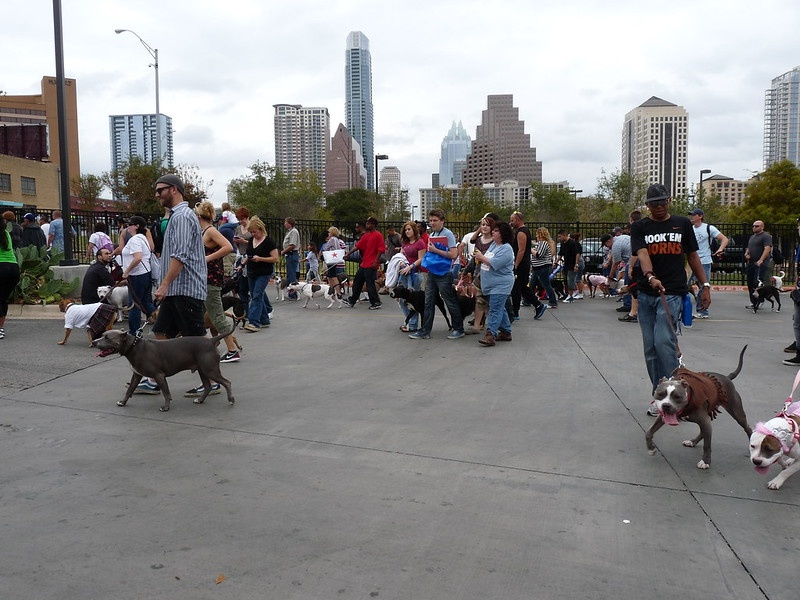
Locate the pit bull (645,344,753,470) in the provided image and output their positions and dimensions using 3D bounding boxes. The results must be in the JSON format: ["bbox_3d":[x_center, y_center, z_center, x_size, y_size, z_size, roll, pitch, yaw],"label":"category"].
[{"bbox_3d":[2.591,0.998,5.780,0.988,0.733,0.478,-8,12,-43],"label":"pit bull"}]

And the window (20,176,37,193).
[{"bbox_3d":[-29.564,-9.154,53.277,0.107,1.619,1.478,-7,4,14],"label":"window"}]

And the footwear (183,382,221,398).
[{"bbox_3d":[-2.215,0.995,7.505,0.470,0.232,0.165,2,1,-15],"label":"footwear"}]

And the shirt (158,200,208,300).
[{"bbox_3d":[-2.441,-0.532,7.628,0.519,1.115,0.978,2,-2,-13],"label":"shirt"}]

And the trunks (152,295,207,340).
[{"bbox_3d":[-2.506,0.145,7.607,0.633,0.510,0.371,5,8,-3],"label":"trunks"}]

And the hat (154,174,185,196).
[{"bbox_3d":[-2.531,-1.271,7.372,0.276,0.221,0.322,-3,10,-21],"label":"hat"}]

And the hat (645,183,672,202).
[{"bbox_3d":[2.632,-1.090,6.867,0.185,0.142,0.260,-7,6,26],"label":"hat"}]

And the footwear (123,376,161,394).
[{"bbox_3d":[-2.829,0.973,7.495,0.435,0.202,0.175,12,-3,-8],"label":"footwear"}]

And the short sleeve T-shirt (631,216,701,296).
[{"bbox_3d":[2.785,-0.490,7.058,0.605,0.882,0.317,-3,11,19],"label":"short sleeve T-shirt"}]

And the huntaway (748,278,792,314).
[{"bbox_3d":[8.521,-0.100,15.601,0.653,0.663,1.803,6,10,28],"label":"huntaway"}]

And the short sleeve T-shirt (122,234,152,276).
[{"bbox_3d":[-4.116,-0.776,10.480,0.380,0.691,0.696,1,20,-13],"label":"short sleeve T-shirt"}]

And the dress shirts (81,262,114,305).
[{"bbox_3d":[-4.851,-0.299,10.824,0.496,0.687,0.497,3,10,-17],"label":"dress shirts"}]

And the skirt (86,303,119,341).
[{"bbox_3d":[-4.526,0.314,10.129,0.284,0.571,0.426,35,4,20],"label":"skirt"}]
